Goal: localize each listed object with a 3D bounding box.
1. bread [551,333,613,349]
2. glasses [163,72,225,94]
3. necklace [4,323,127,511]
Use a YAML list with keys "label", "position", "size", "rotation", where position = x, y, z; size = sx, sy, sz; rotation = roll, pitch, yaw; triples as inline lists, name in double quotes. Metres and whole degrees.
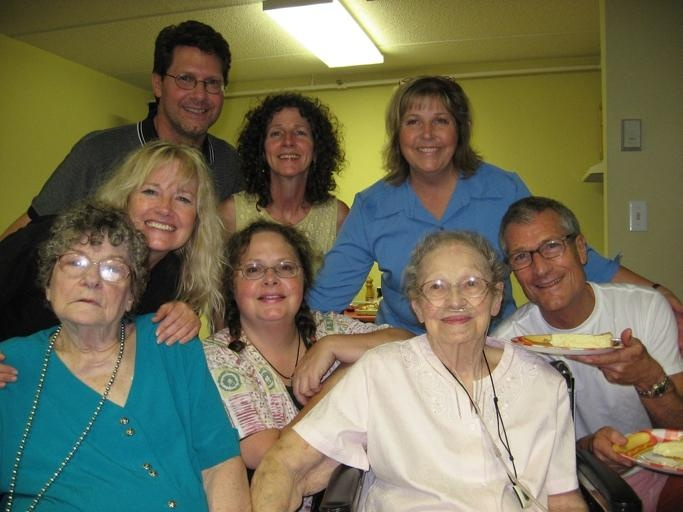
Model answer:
- label: "bread"
  position: [1.100, 0.391, 2.704]
  size: [0.184, 0.037, 0.117]
  rotation: [-11, -18, 20]
- label: "glasses"
  position: [-0.946, -1.111, 3.787]
  size: [0.359, 0.128, 0.072]
  rotation: [-2, 2, -15]
- label: "necklace"
  position: [-1.174, 0.599, 2.446]
  size: [0.245, 0.838, 0.047]
  rotation: [21, -18, -11]
